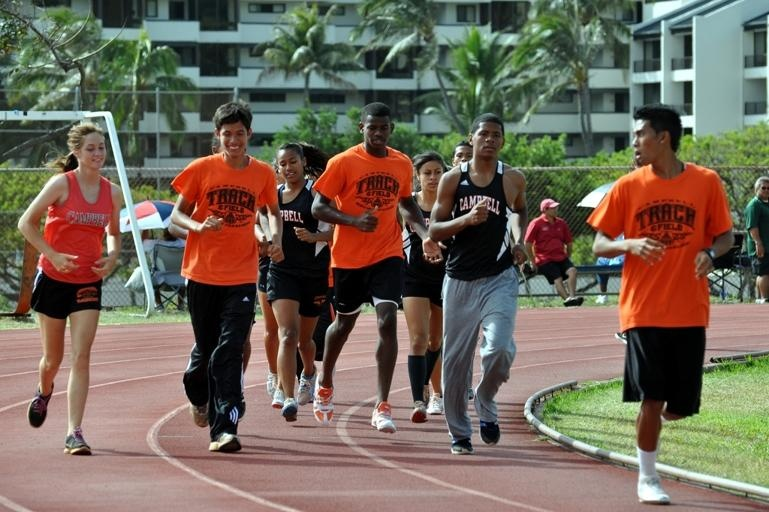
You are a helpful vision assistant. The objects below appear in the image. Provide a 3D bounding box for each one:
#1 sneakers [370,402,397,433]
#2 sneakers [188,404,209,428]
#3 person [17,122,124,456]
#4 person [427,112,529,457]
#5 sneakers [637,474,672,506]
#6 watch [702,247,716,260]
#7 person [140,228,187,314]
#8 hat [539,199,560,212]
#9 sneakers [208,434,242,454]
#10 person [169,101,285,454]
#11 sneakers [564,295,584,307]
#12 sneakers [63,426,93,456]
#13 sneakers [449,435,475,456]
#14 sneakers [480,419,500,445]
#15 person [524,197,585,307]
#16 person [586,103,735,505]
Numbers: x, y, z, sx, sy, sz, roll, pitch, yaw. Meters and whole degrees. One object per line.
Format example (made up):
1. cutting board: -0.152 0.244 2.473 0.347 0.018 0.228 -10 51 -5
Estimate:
1. sneakers: -0.015 1.546 8.898 0.152 0.267 0.276 -1 6 -17
2. sneakers: -1.837 1.592 9.169 0.191 0.238 0.240 2 4 -2
3. person: -2.839 0.280 8.387 0.892 2.960 0.731 -2 6 -22
4. person: 0.851 0.259 8.375 0.860 3.069 0.830 1 6 8
5. sneakers: 2.082 1.790 7.080 0.246 0.210 0.157 2 6 18
6. watch: 2.529 -0.021 7.100 0.069 0.103 0.103 -34 20 -29
7. person: -4.676 0.328 20.045 1.059 1.584 1.149 -1 16 -15
8. hat: 3.345 -1.040 18.803 0.393 0.231 0.294 -16 2 19
9. sneakers: -1.455 1.689 8.315 0.140 0.144 0.318 18 -27 -28
10. person: -1.572 0.169 8.563 0.889 3.167 0.960 1 6 6
11. sneakers: 3.933 0.938 19.255 0.211 0.197 0.440 7 -24 -41
12. sneakers: -2.762 1.674 8.216 0.141 0.174 0.362 3 -7 -32
13. sneakers: 0.701 1.717 8.316 0.125 0.127 0.286 2 -14 -6
14. sneakers: 0.976 1.615 8.521 0.133 0.108 0.257 -6 31 -6
15. person: 3.462 -0.025 18.943 1.450 2.282 0.586 -4 7 -35
16. person: 2.176 0.349 7.191 1.043 3.054 0.630 1 6 11
